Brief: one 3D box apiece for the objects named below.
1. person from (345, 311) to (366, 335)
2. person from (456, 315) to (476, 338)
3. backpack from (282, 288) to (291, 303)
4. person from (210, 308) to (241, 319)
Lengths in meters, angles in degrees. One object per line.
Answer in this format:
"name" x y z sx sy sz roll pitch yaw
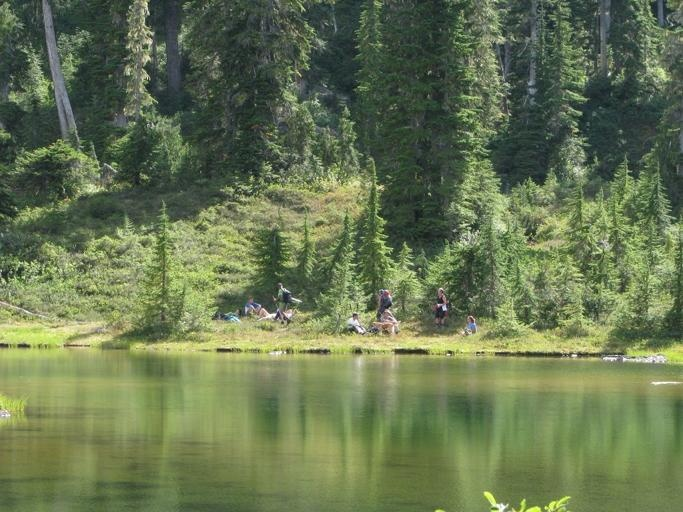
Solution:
"person" 0.896 3.930 95.835 1.079 1.288 0.884 0 -1 -20
"person" 7.467 4.055 95.735 0.978 1.140 1.876 -1 -1 5
"backpack" -3.341 2.441 98.569 0.525 0.777 0.365 4 15 31
"person" -7.100 3.639 99.281 1.249 0.769 0.632 -2 25 2
